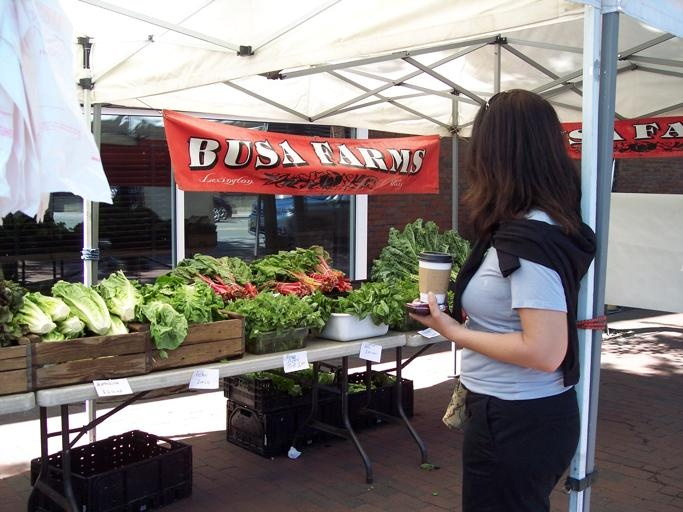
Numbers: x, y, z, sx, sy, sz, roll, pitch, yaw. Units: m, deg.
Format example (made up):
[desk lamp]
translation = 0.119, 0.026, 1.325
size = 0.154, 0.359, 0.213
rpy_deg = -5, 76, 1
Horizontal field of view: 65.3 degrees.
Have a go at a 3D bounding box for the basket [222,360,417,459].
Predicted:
[basket]
translation = -0.154, 1.421, 5.270
size = 1.606, 0.492, 0.890
rpy_deg = -2, 3, -34
